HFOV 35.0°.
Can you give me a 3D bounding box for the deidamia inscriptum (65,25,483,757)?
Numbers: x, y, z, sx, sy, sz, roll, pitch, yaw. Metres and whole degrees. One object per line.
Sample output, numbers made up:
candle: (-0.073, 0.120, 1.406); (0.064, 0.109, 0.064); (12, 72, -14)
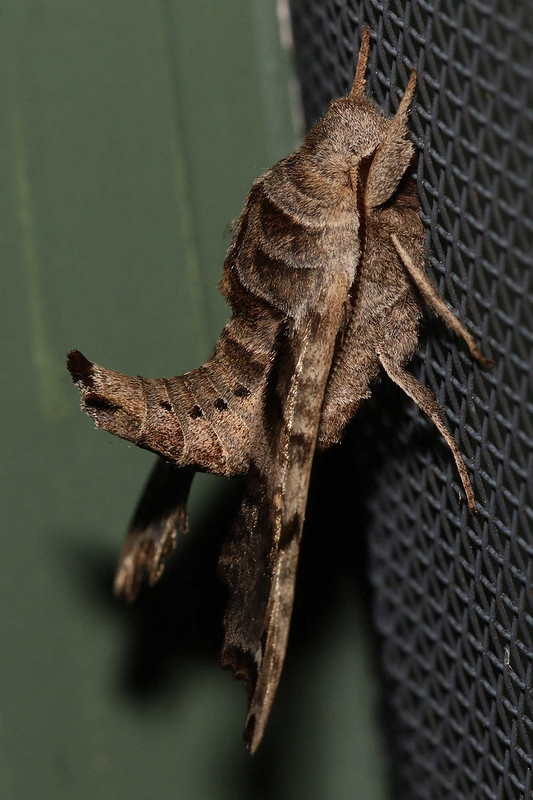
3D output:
deidamia inscriptum: (0.033, -0.039, 0.769); (0.334, 0.555, 0.308); (-18, 34, -41)
